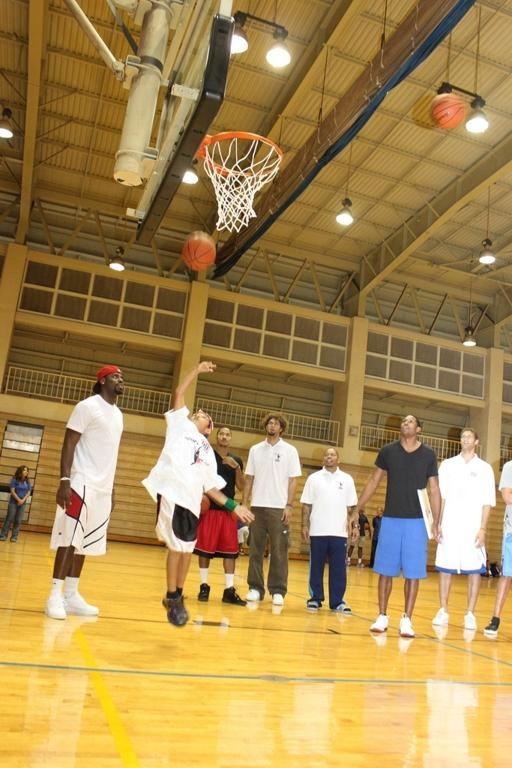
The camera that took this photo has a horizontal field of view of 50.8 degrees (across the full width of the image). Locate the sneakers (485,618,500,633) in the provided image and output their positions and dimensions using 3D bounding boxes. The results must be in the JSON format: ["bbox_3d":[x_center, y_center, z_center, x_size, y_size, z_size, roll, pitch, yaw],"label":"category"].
[{"bbox_3d":[2.147,2.183,4.897,0.081,0.108,0.245,3,-7,9],"label":"sneakers"}]

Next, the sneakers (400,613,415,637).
[{"bbox_3d":[1.182,1.891,4.229,0.102,0.159,0.265,3,-9,18],"label":"sneakers"}]

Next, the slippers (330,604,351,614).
[{"bbox_3d":[0.814,2.139,5.148,0.171,0.077,0.080,2,0,-16],"label":"slippers"}]

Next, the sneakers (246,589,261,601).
[{"bbox_3d":[-0.033,2.027,5.165,0.069,0.074,0.169,0,-24,7],"label":"sneakers"}]

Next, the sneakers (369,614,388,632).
[{"bbox_3d":[0.968,1.893,4.246,0.093,0.106,0.249,-2,-23,17],"label":"sneakers"}]

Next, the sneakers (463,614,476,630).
[{"bbox_3d":[2.080,2.292,5.213,0.098,0.115,0.280,-2,-18,13],"label":"sneakers"}]

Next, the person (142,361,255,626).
[{"bbox_3d":[-0.407,0.646,3.464,0.617,1.744,0.987,7,-9,-10],"label":"person"}]

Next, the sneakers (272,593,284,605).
[{"bbox_3d":[0.201,2.023,5.051,0.093,0.095,0.147,6,-8,-3],"label":"sneakers"}]

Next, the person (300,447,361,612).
[{"bbox_3d":[0.705,1.416,5.235,0.510,1.544,0.515,1,-7,4],"label":"person"}]

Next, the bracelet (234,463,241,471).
[{"bbox_3d":[-0.185,0.788,5.119,0.032,0.038,0.125,29,-5,-7],"label":"bracelet"}]

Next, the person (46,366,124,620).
[{"bbox_3d":[-1.074,0.628,3.363,0.183,1.547,0.438,-1,-11,36],"label":"person"}]

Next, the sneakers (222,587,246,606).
[{"bbox_3d":[-0.203,1.932,4.923,0.273,0.177,0.101,-5,-11,35],"label":"sneakers"}]

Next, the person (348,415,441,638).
[{"bbox_3d":[1.109,1.094,4.292,0.646,1.704,0.379,1,-10,22],"label":"person"}]

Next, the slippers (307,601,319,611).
[{"bbox_3d":[0.532,2.089,5.082,0.051,0.068,0.155,0,-27,11],"label":"slippers"}]

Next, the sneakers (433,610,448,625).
[{"bbox_3d":[1.780,2.266,5.218,0.091,0.136,0.283,-4,-20,23],"label":"sneakers"}]

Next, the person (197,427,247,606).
[{"bbox_3d":[-0.305,1.237,5.104,0.474,1.619,0.453,7,-13,-18],"label":"person"}]

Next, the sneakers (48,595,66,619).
[{"bbox_3d":[-1.188,1.324,3.201,0.091,0.112,0.137,10,-9,-27],"label":"sneakers"}]
